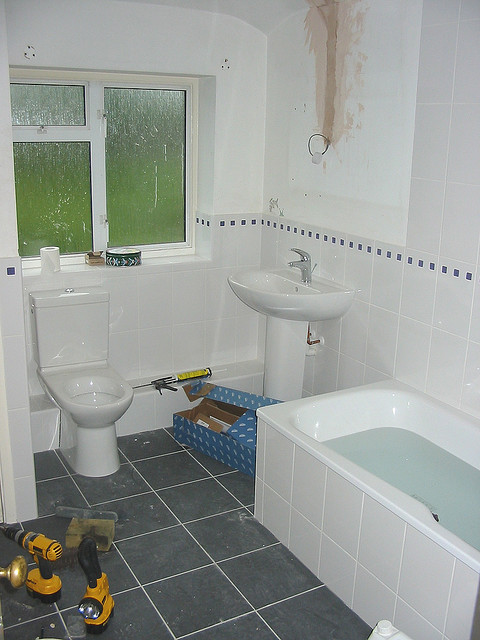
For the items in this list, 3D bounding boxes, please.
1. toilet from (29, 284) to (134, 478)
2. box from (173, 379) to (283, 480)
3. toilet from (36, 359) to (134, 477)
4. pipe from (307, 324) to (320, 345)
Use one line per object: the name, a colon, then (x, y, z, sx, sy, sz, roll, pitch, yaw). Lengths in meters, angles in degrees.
toilet: (-0.870, 0.361, 2.683, 0.421, 0.934, 0.657, -8, 19, -36)
box: (-0.058, 0.603, 2.862, 0.771, 0.505, 0.396, 15, 15, 42)
toilet: (-0.863, 0.575, 2.687, 0.387, 0.487, 0.589, -5, 18, -36)
pipe: (0.451, 0.104, 2.975, 0.082, 0.099, 0.076, 8, 11, 37)
